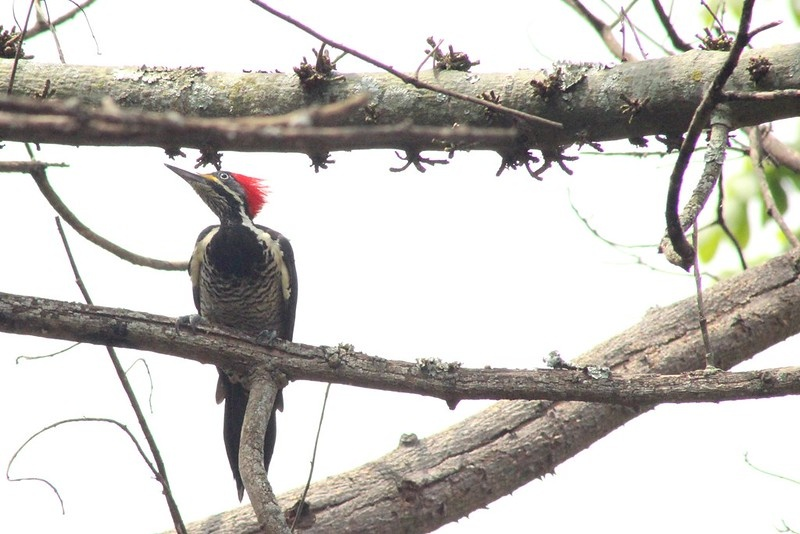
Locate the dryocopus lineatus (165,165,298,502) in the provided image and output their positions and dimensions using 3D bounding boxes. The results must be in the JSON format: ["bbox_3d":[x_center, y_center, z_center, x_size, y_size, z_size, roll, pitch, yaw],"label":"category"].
[{"bbox_3d":[-1.002,0.345,8.390,0.969,1.704,2.100,2,-91,6],"label":"dryocopus lineatus"}]
